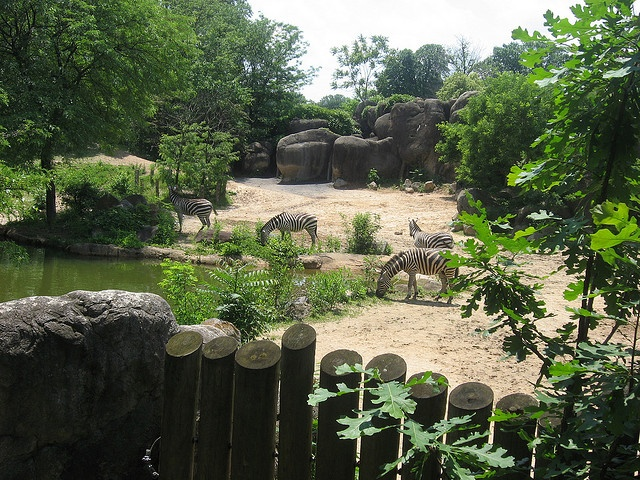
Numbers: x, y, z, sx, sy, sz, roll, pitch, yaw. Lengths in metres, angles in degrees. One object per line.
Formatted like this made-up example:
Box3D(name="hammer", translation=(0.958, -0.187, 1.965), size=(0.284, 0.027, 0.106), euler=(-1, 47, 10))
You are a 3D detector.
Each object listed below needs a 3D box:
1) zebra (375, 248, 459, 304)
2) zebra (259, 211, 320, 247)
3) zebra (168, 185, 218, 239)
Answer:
Box3D(name="zebra", translation=(1.890, 0.672, 13.523), size=(1.519, 1.081, 0.976), euler=(4, 0, 4))
Box3D(name="zebra", translation=(-0.842, -0.351, 20.313), size=(0.962, 1.031, 2.251), euler=(4, 0, 39))
Box3D(name="zebra", translation=(-4.085, -0.889, 21.685), size=(1.875, 1.314, 0.549), euler=(7, 3, 16))
